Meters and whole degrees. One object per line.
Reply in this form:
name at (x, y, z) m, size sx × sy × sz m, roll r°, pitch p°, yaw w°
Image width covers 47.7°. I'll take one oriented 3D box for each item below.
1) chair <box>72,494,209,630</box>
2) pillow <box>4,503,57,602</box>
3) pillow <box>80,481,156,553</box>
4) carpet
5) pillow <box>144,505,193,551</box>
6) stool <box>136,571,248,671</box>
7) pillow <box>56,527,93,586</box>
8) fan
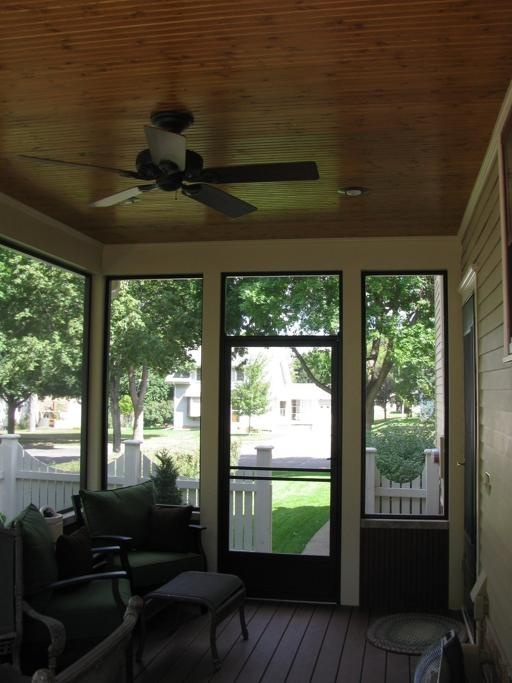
chair at (-0.883, 1.506, 4.327) m, size 0.917 × 0.813 × 0.901 m, roll 4°, pitch -10°, yaw -19°
pillow at (-1.361, 1.243, 3.435) m, size 0.243 × 0.477 × 0.647 m, roll 4°, pitch -9°, yaw -16°
pillow at (-1.051, 1.358, 4.497) m, size 0.232 × 0.485 × 0.657 m, roll -16°, pitch -14°, yaw 33°
carpet at (1.097, 1.991, 3.976) m, size 0.658 × 0.044 × 0.755 m, roll -1°, pitch -7°, yaw 14°
pillow at (-0.683, 1.437, 4.419) m, size 0.342 × 0.342 × 0.131 m, roll 1°, pitch -39°, yaw 0°
stool at (-0.393, 1.739, 3.702) m, size 0.556 × 0.429 × 0.631 m, roll -1°, pitch -7°, yaw 17°
pillow at (-1.208, 1.380, 3.667) m, size 0.171 × 0.338 × 0.467 m, roll -9°, pitch -7°, yaw -9°
fan at (-0.279, -0.763, 2.597) m, size 0.717 × 0.194 × 0.727 m, roll -3°, pitch -11°, yaw 17°
